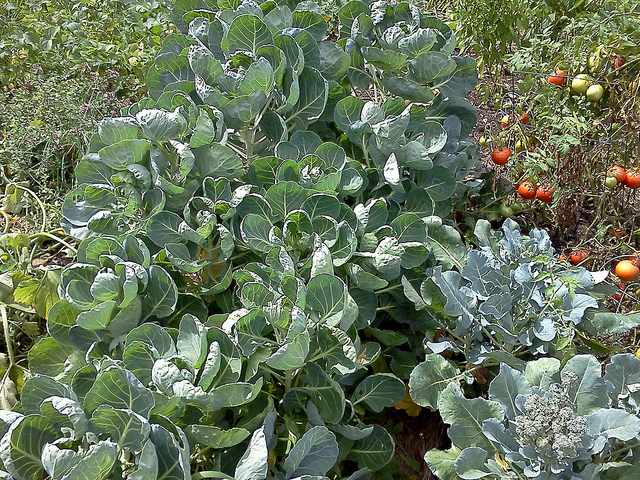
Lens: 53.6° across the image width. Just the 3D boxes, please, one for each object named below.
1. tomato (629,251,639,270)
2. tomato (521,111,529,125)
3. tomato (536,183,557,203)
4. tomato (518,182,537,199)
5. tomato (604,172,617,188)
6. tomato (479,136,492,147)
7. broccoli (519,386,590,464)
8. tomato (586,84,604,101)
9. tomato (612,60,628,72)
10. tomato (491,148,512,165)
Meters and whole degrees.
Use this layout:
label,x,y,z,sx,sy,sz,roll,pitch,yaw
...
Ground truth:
label,x,y,z,sx,sy,sz,roll,pitch,yaw
tomato,1.629,0.108,3.304,0.052,0.068,0.055,22,28,30
tomato,1.221,-0.720,3.786,0.049,0.100,0.031,-12,52,-1
tomato,1.222,-0.254,3.476,0.091,0.096,0.100,15,82,6
tomato,1.143,-0.260,3.503,0.077,0.083,0.083,-8,51,9
tomato,1.570,-0.321,3.458,0.053,0.054,0.077,-13,63,48
tomato,1.000,-0.590,3.866,0.063,0.040,0.077,-19,36,6
broccoli,0.789,0.646,2.240,0.236,0.147,0.231,-44,66,-10
tomato,1.489,-0.799,3.453,0.075,0.083,0.096,-6,21,24
tomato,1.656,-0.984,3.536,0.062,0.073,0.067,-1,79,-30
tomato,1.036,-0.480,3.659,0.089,0.092,0.087,-16,11,-37
